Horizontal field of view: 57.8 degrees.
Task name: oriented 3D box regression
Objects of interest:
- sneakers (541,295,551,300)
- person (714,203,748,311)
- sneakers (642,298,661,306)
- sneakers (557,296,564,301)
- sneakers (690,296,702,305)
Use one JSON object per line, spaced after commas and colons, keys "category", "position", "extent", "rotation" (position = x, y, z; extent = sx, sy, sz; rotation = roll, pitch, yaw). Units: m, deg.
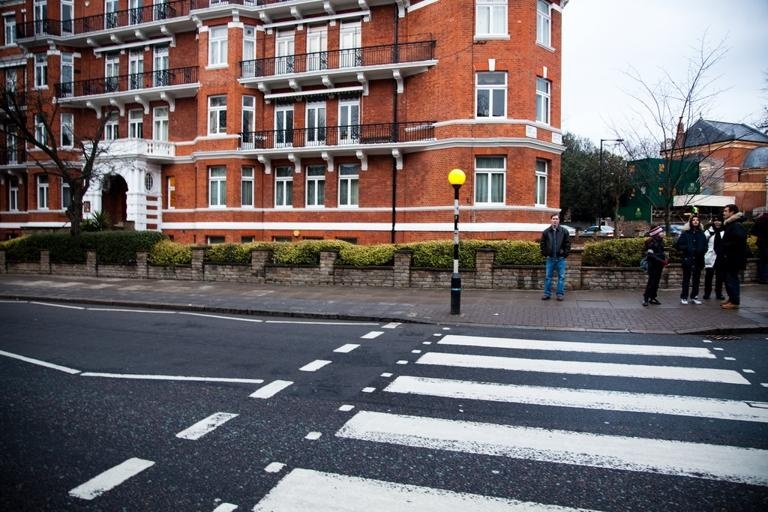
{"category": "sneakers", "position": [5.299, 1.357, 22.637], "extent": [0.374, 0.154, 0.123], "rotation": [6, -5, -41]}
{"category": "person", "position": [10.150, -0.026, 20.271], "extent": [0.643, 2.933, 1.275], "rotation": [3, 13, 24]}
{"category": "sneakers", "position": [8.173, 1.411, 21.205], "extent": [0.676, 0.282, 0.225], "rotation": [-4, 8, -11]}
{"category": "sneakers", "position": [5.667, 1.344, 22.375], "extent": [0.134, 0.153, 0.365], "rotation": [-1, -4, 2]}
{"category": "sneakers", "position": [9.539, 1.357, 21.158], "extent": [0.377, 0.251, 0.157], "rotation": [-3, 8, -39]}
